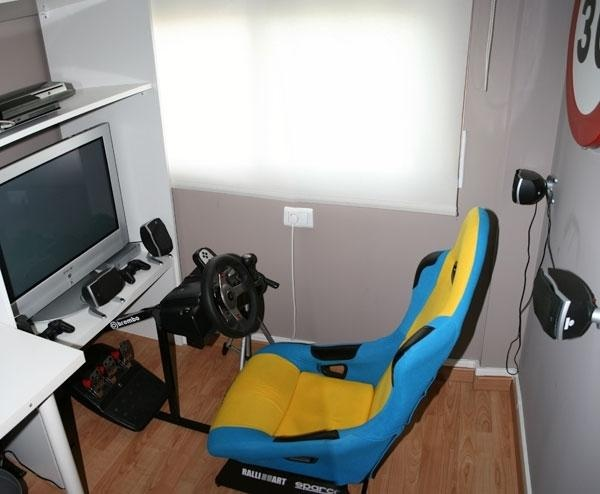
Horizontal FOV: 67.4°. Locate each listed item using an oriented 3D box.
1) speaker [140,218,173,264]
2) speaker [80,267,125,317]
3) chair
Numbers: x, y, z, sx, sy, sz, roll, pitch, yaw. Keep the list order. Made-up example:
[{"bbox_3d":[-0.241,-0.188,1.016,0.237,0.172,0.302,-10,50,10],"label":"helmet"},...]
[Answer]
[{"bbox_3d":[-0.799,-0.044,2.512,0.096,0.206,0.134,-16,7,23],"label":"speaker"},{"bbox_3d":[-0.970,0.212,2.217,0.113,0.185,0.232,11,24,9],"label":"speaker"},{"bbox_3d":[0.152,0.370,1.711,0.933,1.126,0.672,7,32,12],"label":"chair"}]
